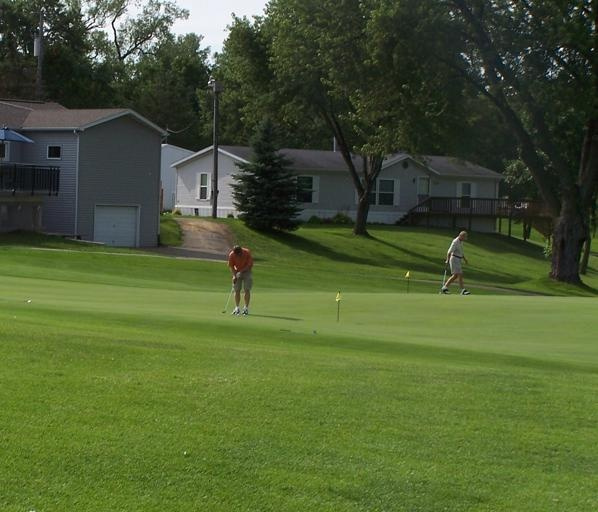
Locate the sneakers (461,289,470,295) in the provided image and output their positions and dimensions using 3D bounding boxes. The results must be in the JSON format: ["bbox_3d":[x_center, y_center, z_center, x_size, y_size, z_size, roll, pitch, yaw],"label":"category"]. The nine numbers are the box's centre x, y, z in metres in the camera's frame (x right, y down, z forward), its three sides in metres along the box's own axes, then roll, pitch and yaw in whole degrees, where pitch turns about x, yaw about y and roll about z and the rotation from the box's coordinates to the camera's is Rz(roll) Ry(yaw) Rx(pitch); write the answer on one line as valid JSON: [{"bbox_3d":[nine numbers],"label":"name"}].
[{"bbox_3d":[4.772,1.026,24.069,0.235,0.225,0.492,-2,-6,6],"label":"sneakers"}]

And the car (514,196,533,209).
[{"bbox_3d":[13.700,-3.230,51.400,1.137,0.702,6.534,3,4,14],"label":"car"}]

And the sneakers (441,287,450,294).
[{"bbox_3d":[4.119,0.958,23.695,0.136,0.197,0.401,0,-6,5],"label":"sneakers"}]
